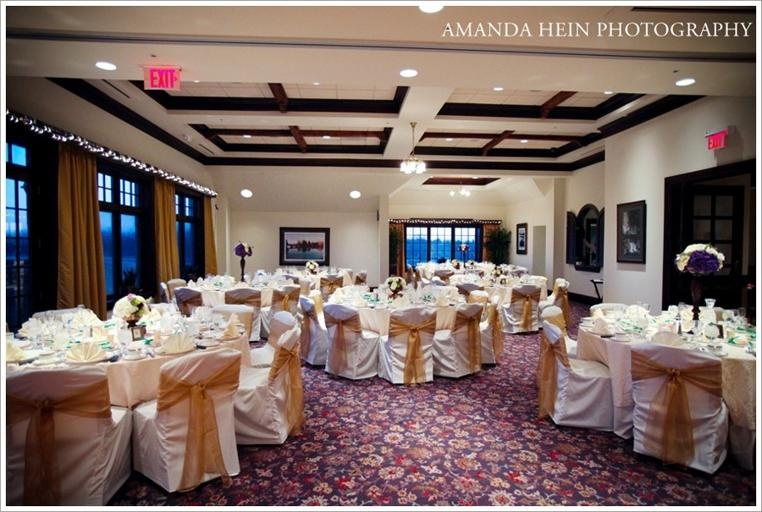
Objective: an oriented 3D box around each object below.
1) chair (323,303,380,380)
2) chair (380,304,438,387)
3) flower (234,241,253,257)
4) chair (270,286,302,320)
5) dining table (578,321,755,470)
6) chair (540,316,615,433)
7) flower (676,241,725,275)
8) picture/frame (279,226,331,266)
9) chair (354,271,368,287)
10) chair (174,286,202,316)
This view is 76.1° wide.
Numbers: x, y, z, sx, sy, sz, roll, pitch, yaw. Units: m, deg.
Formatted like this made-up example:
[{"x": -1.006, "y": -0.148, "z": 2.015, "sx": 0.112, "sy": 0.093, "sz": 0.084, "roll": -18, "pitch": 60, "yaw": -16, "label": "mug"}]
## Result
[{"x": -0.399, "y": 1.206, "z": 6.848, "sx": 0.845, "sy": 1.181, "sz": 0.739, "roll": 4, "pitch": 10, "yaw": 21, "label": "chair"}, {"x": 0.387, "y": 1.192, "z": 6.876, "sx": 0.820, "sy": 1.261, "sz": 0.960, "roll": 0, "pitch": 6, "yaw": -5, "label": "chair"}, {"x": -3.037, "y": -0.164, "z": 10.741, "sx": 0.478, "sy": 0.340, "sz": 0.488, "roll": 2, "pitch": 4, "yaw": -5, "label": "flower"}, {"x": -1.685, "y": 0.763, "z": 8.733, "sx": 0.480, "sy": 0.774, "sz": 0.572, "roll": -2, "pitch": 14, "yaw": -21, "label": "chair"}, {"x": 3.043, "y": 1.556, "z": 5.092, "sx": 1.017, "sy": 0.925, "sz": 1.410, "roll": 2, "pitch": 6, "yaw": 25, "label": "dining table"}, {"x": 2.315, "y": 1.414, "z": 6.225, "sx": 1.064, "sy": 1.373, "sz": 0.979, "roll": -1, "pitch": 6, "yaw": 2, "label": "chair"}, {"x": 3.974, "y": 0.037, "z": 6.152, "sx": 0.457, "sy": 0.439, "sz": 0.517, "roll": -6, "pitch": -1, "yaw": 15, "label": "flower"}, {"x": -2.259, "y": -0.355, "z": 14.217, "sx": 1.113, "sy": 0.961, "sz": 0.091, "roll": 0, "pitch": 2, "yaw": -8, "label": "picture/frame"}, {"x": -0.467, "y": 0.517, "z": 11.479, "sx": 0.357, "sy": 0.411, "sz": 0.310, "roll": 1, "pitch": 1, "yaw": -1, "label": "chair"}, {"x": -3.050, "y": 0.714, "z": 7.740, "sx": 0.406, "sy": 0.513, "sz": 0.320, "roll": 0, "pitch": 9, "yaw": -4, "label": "chair"}]
